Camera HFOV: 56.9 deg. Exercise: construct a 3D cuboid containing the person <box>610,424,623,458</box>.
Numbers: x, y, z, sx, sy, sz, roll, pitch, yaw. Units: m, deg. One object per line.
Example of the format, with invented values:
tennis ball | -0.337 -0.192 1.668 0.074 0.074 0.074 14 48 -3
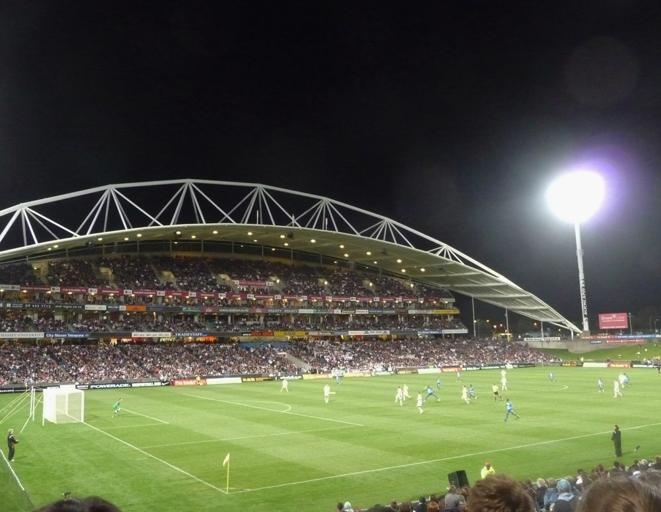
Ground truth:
person | 15.326 9.844 32.460 0.377 1.589 0.868 -3 -6 23
